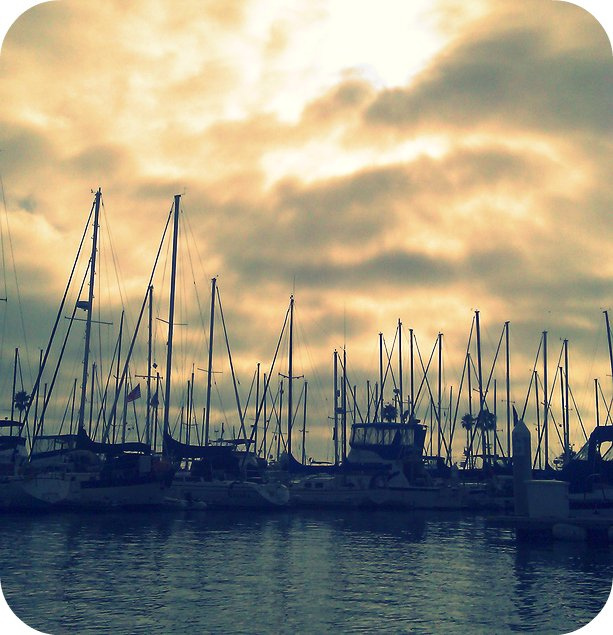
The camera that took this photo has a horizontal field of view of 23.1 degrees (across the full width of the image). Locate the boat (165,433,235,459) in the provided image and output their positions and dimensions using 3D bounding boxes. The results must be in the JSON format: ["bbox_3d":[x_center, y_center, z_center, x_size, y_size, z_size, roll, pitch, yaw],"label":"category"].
[{"bbox_3d":[-5.906,7.352,83.498,2.054,1.202,3.933,-10,-20,36],"label":"boat"}]

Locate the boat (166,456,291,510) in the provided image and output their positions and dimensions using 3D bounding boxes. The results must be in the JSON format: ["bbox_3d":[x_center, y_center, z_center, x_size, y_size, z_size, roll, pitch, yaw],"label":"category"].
[{"bbox_3d":[-5.032,9.376,86.063,8.758,3.457,4.814,-3,7,16],"label":"boat"}]

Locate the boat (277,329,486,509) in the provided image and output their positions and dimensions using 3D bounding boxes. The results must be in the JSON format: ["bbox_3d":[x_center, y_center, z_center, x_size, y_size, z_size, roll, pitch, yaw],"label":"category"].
[{"bbox_3d":[4.344,8.681,88.046,10.593,5.557,3.118,3,-14,-3],"label":"boat"}]

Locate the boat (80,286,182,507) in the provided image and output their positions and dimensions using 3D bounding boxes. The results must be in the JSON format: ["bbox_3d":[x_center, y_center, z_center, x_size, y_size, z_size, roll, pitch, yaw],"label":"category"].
[{"bbox_3d":[-10.254,4.041,79.350,7.070,11.664,2.183,3,-1,-5],"label":"boat"}]

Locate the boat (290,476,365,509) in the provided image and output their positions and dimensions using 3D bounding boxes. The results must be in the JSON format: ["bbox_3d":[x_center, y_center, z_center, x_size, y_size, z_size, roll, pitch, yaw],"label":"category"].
[{"bbox_3d":[1.099,10.149,86.781,4.039,1.897,0.918,0,-14,7],"label":"boat"}]
